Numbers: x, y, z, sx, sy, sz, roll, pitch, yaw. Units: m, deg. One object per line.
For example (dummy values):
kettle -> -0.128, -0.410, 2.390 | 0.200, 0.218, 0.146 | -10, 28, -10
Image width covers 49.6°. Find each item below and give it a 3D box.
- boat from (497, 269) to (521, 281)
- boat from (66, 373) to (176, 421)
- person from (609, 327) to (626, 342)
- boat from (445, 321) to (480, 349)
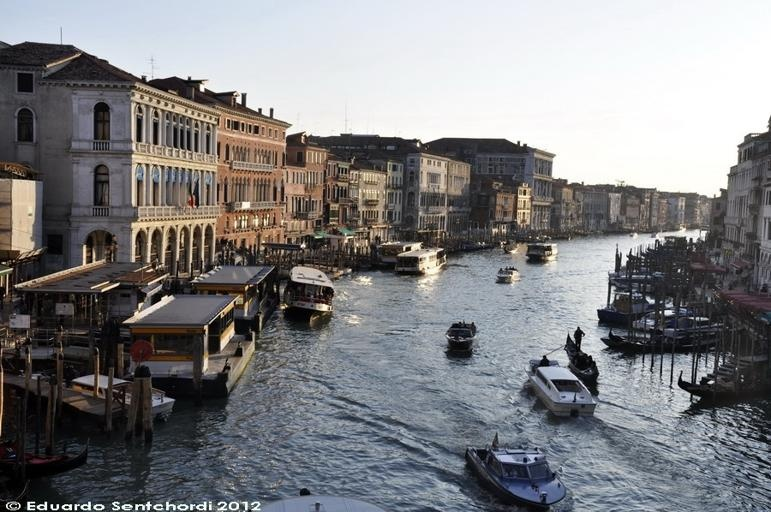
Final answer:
boat -> 15.983, 2.590, 109.318 | 2.359, 1.395, 4.449 | 4, 6, 16
boat -> -17.459, 8.579, 51.538 | 8.599, 2.030, 2.605 | 6, -5, 13
person -> 19.547, 6.897, 71.043 | 0.873, 1.188, 2.661 | 2, 10, 19
boat -> 6.205, 6.665, 67.855 | 2.241, 1.501, 3.524 | 3, 6, 9
